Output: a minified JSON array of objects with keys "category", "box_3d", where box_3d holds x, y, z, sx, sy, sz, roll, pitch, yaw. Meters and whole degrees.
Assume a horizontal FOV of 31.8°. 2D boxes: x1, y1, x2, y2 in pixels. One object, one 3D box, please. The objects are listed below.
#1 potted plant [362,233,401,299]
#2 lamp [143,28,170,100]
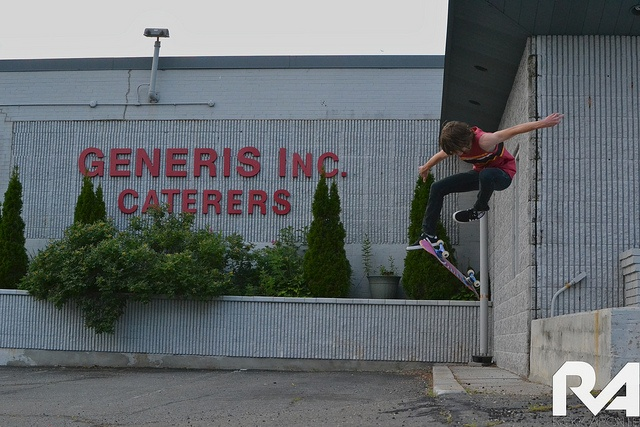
[{"category":"potted plant","box_3d":[1.735,1.524,32.783,1.085,1.929,1.383,-2,-5,1]},{"category":"lamp","box_3d":[-5.130,-4.717,35.155,0.684,2.359,1.412,-1,-5,-9]}]
